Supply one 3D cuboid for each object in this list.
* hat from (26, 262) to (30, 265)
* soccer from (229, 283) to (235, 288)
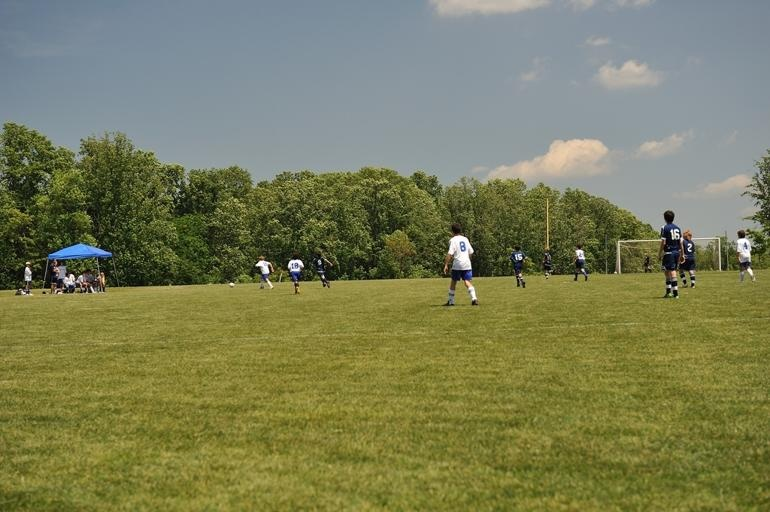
[{"bbox_3d":[-21.591,0.442,43.106,0.179,0.099,0.180,-4,-2,4],"label":"hat"},{"bbox_3d":[-9.487,1.837,44.087,0.417,0.253,0.463,-1,-5,-3],"label":"soccer"}]
